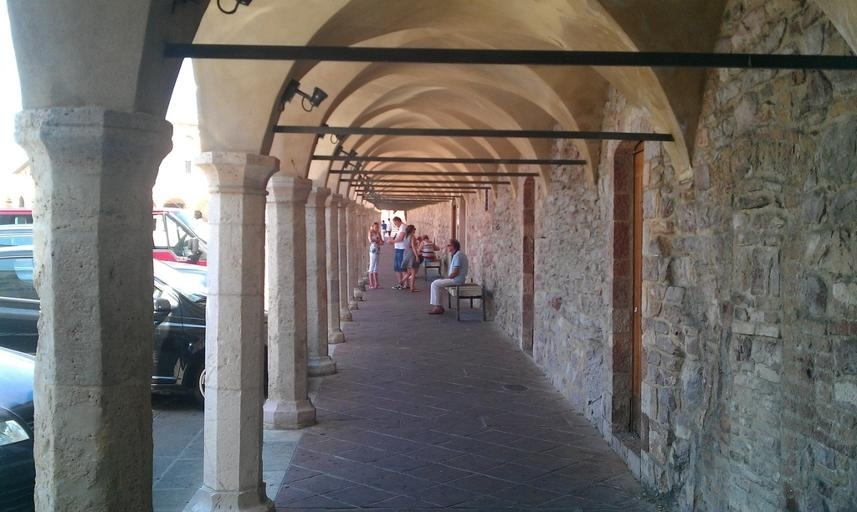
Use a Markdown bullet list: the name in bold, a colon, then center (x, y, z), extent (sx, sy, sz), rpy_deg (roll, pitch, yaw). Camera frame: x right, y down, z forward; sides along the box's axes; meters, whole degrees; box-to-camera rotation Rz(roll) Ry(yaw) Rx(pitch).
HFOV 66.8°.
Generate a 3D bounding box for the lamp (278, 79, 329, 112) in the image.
- **lamp**: center (-1.181, -1.508, 6.207), extent (0.444, 0.339, 0.209), rpy_deg (28, 24, 7)

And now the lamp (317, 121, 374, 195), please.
- **lamp**: center (-1.085, -1.338, 8.717), extent (0.535, 1.027, 1.438), rpy_deg (-5, 14, 12)

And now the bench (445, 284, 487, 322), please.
- **bench**: center (1.078, 0.912, 14.623), extent (0.658, 0.748, 2.225), rpy_deg (-1, 1, 8)

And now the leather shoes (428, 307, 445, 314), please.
- **leather shoes**: center (0.160, 1.180, 13.870), extent (0.347, 0.137, 0.126), rpy_deg (2, 2, 22)

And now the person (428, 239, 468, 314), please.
- **person**: center (0.416, 0.443, 13.947), extent (0.759, 1.610, 1.012), rpy_deg (1, 6, 0)

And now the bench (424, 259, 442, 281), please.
- **bench**: center (0.075, 0.524, 23.681), extent (0.697, 1.160, 0.737), rpy_deg (1, -7, -7)
